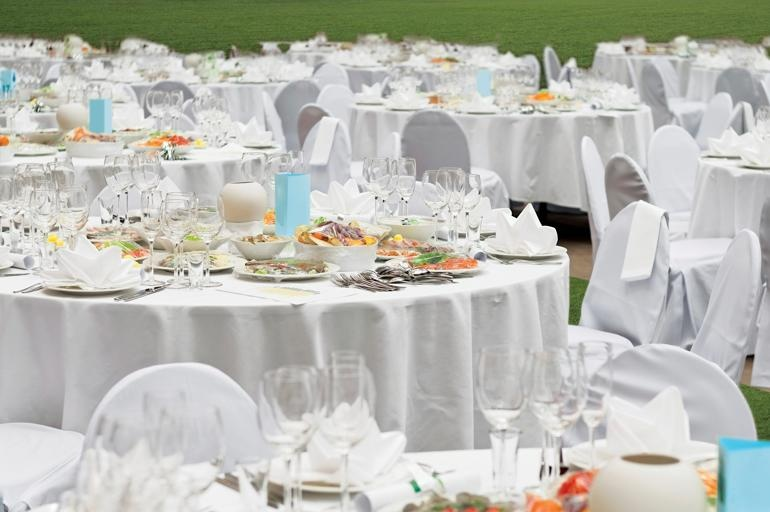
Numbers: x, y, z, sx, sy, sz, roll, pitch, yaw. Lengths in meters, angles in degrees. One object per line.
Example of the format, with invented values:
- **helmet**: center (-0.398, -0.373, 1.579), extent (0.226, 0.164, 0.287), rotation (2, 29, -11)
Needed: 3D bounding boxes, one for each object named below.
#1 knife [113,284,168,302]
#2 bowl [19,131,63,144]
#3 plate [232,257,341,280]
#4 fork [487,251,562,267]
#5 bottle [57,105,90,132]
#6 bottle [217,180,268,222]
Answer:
- **knife**: center (-0.730, 0.114, 2.527), extent (0.044, 0.010, 0.174), rotation (12, 16, 27)
- **bowl**: center (-2.085, -0.724, 5.190), extent (0.243, 0.083, 0.450), rotation (-10, 15, -23)
- **plate**: center (-0.323, 0.050, 2.708), extent (0.330, 0.061, 0.153), rotation (-1, 14, 12)
- **fork**: center (0.488, 0.006, 2.929), extent (0.264, 0.037, 0.074), rotation (-5, 13, -3)
- **bottle**: center (-1.910, -0.841, 5.224), extent (0.177, 0.181, 0.172), rotation (-13, 27, -26)
- **bottle**: center (-0.522, -0.192, 3.088), extent (0.150, 0.138, 0.155), rotation (1, 5, 6)
